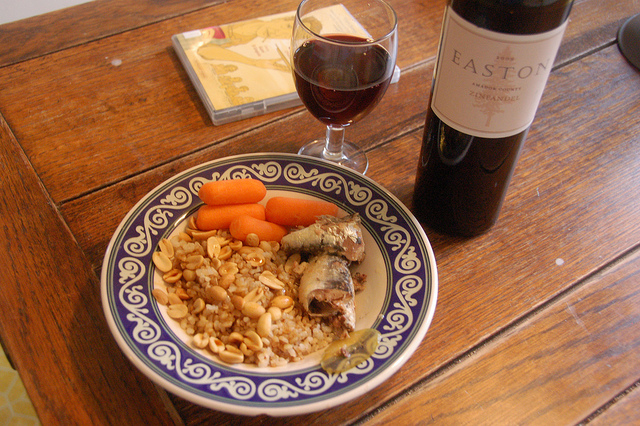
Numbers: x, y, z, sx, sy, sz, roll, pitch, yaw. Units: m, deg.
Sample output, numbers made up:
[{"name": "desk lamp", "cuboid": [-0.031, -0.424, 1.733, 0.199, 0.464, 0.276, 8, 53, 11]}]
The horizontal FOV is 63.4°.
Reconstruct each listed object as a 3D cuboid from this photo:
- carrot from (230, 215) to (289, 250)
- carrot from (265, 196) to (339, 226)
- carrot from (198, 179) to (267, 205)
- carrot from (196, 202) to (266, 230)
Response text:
[{"name": "carrot", "cuboid": [-0.160, 0.050, 1.368, 0.151, 0.061, 0.063, 7, 39, -38]}, {"name": "carrot", "cuboid": [-0.047, 0.002, 1.376, 0.185, 0.075, 0.076, 3, 79, -7]}, {"name": "carrot", "cuboid": [-0.232, -0.054, 1.351, 0.188, 0.084, 0.078, -2, 83, 18]}, {"name": "carrot", "cuboid": [-0.230, -0.007, 1.350, 0.164, 0.058, 0.067, -7, 55, -16]}]
